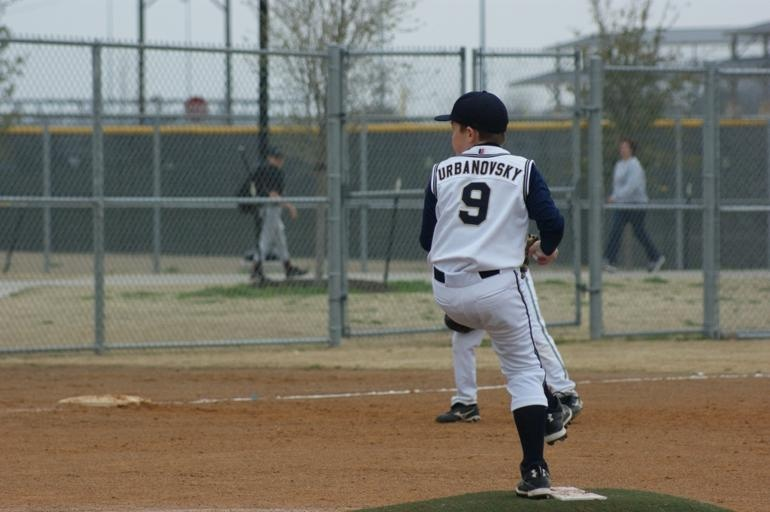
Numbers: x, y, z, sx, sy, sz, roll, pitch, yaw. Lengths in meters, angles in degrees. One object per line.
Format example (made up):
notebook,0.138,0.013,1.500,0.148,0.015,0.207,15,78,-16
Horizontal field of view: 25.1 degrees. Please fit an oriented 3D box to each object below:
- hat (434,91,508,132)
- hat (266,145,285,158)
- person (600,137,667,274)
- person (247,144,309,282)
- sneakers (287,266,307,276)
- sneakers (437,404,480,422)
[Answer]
hat,0.972,-1.528,18.046,0.509,0.286,0.385,16,15,19
hat,-1.360,-1.326,21.731,0.234,0.144,0.060,-4,5,-29
person,3.217,-0.656,22.444,0.769,1.748,0.202,-1,4,6
person,-1.372,-0.531,21.738,0.645,1.673,0.166,-2,4,-4
sneakers,-1.083,0.187,21.800,0.270,0.168,0.088,1,1,-29
sneakers,0.862,1.790,19.651,0.518,0.271,0.198,2,-3,-2
